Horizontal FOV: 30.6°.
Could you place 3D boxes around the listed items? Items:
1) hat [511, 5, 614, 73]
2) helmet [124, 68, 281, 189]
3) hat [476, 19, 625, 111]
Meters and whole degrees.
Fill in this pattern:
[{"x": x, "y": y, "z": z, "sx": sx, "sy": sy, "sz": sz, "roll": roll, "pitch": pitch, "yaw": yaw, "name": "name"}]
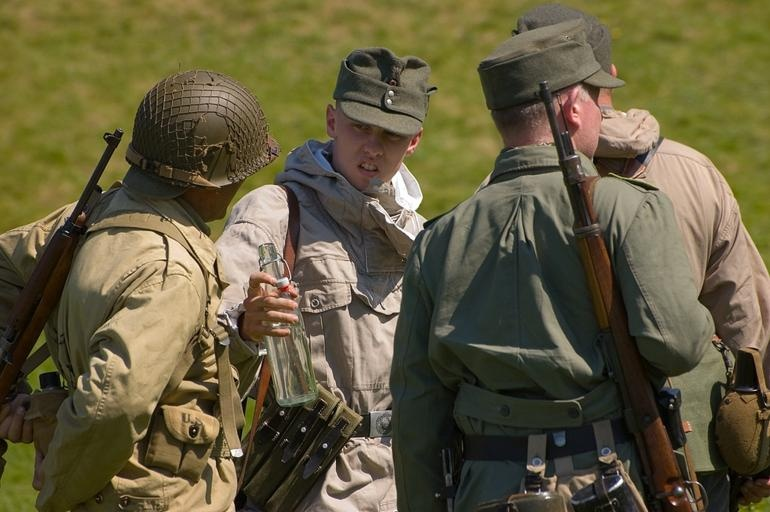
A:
[{"x": 1.034, "y": -1.308, "z": 7.894, "sx": 0.399, "sy": 0.221, "sz": 0.545, "roll": 9, "pitch": -3, "yaw": 19, "name": "hat"}, {"x": -0.978, "y": -0.711, "z": 7.643, "sx": 0.668, "sy": 0.393, "sz": 0.566, "roll": -9, "pitch": 21, "yaw": -39, "name": "helmet"}, {"x": 0.849, "y": -1.052, "z": 7.464, "sx": 0.634, "sy": 0.325, "sz": 0.440, "roll": -8, "pitch": 12, "yaw": -14, "name": "hat"}]
